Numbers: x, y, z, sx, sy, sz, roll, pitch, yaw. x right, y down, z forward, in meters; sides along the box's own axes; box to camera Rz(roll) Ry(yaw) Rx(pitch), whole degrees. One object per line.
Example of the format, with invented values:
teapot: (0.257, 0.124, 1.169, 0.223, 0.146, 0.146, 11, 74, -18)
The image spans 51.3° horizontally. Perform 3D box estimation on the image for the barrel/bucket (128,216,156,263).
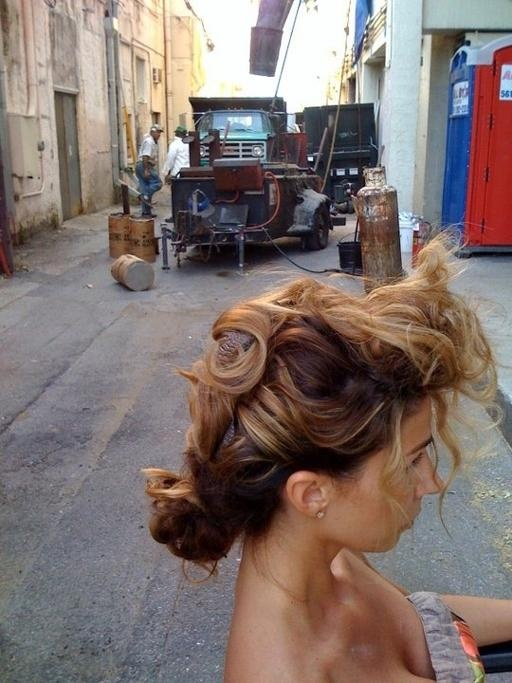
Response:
barrel/bucket: (-2.105, -1.884, 9.910, 0.484, 0.757, 0.488, 1, 17, 0)

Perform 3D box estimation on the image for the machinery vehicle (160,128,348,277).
machinery vehicle: (-0.192, -2.802, 10.194, 2.688, 2.356, 3.823, 6, 21, 27)

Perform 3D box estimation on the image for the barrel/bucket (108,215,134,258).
barrel/bucket: (-2.354, -1.959, 9.883, 0.463, 0.667, 0.454, 4, 10, -1)

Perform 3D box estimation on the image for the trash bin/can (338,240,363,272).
trash bin/can: (1.393, -1.231, 7.905, 0.442, 0.470, 0.468, -4, 6, -38)

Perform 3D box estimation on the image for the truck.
truck: (-0.408, -5.023, 13.144, 2.633, 1.939, 3.385, 6, 21, 15)
